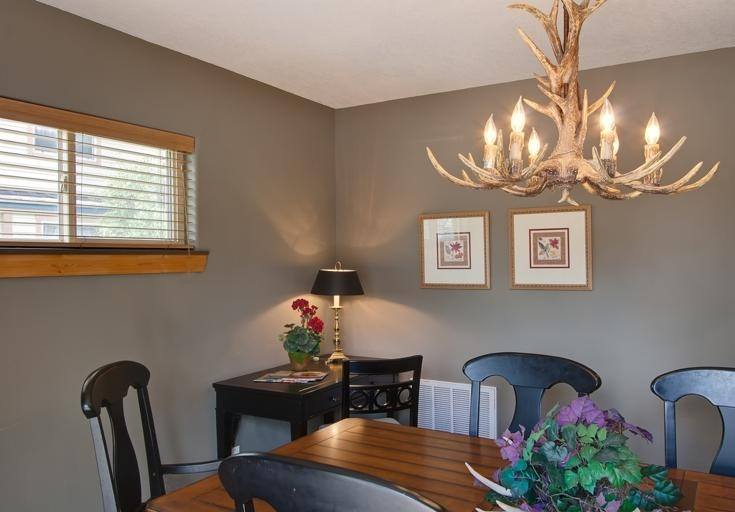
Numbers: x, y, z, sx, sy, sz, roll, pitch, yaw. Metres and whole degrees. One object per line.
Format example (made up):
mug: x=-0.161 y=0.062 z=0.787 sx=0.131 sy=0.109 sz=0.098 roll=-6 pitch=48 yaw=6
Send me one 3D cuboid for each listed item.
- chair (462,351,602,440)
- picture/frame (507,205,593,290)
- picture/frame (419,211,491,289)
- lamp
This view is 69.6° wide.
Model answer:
chair: x=0.812 y=0.611 z=2.732 sx=0.520 sy=0.687 sz=0.495 roll=-2 pitch=-9 yaw=29
picture/frame: x=1.318 y=-0.063 z=3.770 sx=0.621 sy=0.637 sz=0.048 roll=-2 pitch=-2 yaw=29
picture/frame: x=0.686 y=-0.046 z=4.068 sx=0.617 sy=0.637 sz=0.045 roll=-2 pitch=-2 yaw=25
lamp: x=-0.235 y=0.439 z=4.282 sx=0.417 sy=0.781 sz=0.555 roll=-1 pitch=0 yaw=-1
